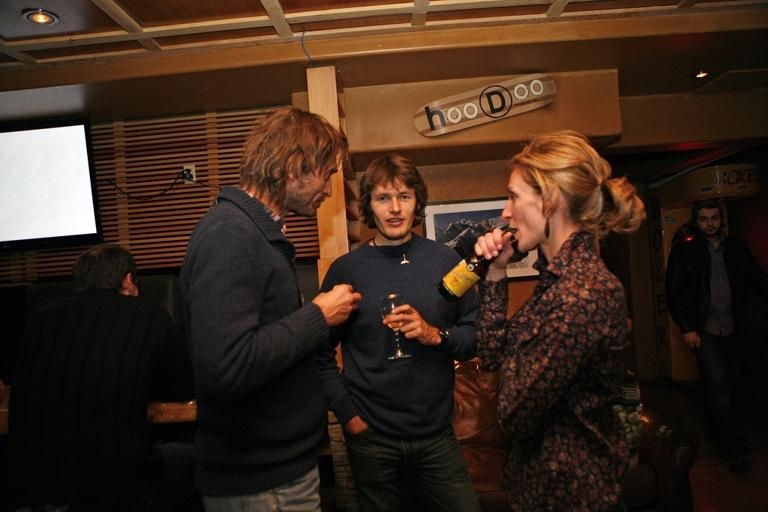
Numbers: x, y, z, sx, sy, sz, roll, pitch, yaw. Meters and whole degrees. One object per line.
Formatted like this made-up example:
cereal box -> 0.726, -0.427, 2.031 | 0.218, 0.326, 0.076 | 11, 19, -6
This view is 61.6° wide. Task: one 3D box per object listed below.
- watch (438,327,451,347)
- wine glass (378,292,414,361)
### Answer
watch -> 0.370, 0.495, 4.014 | 0.069, 0.101, 0.090 | 3, -23, -8
wine glass -> 0.067, 0.441, 4.002 | 0.142, 0.397, 0.158 | -3, 1, 18
